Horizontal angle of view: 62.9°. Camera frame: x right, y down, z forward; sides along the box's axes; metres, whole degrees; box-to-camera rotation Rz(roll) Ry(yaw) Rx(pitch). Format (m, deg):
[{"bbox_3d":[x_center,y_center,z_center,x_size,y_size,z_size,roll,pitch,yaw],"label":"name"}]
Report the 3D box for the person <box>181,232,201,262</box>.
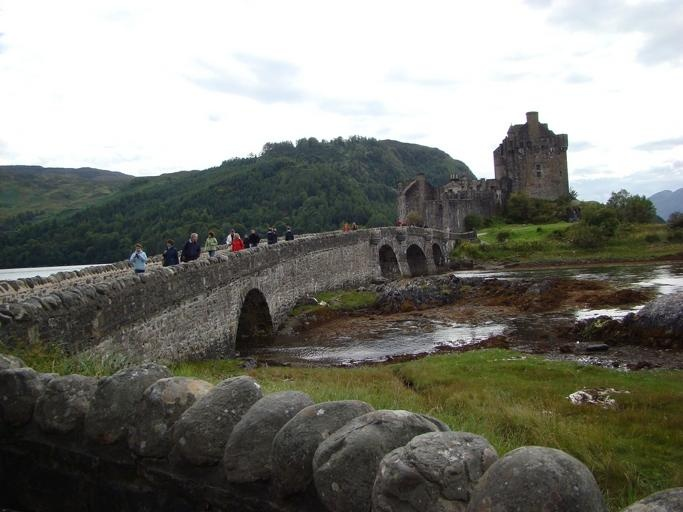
[{"bbox_3d":[-4.512,-0.269,16.711,0.495,0.916,1.468,4,-4,-17],"label":"person"}]
